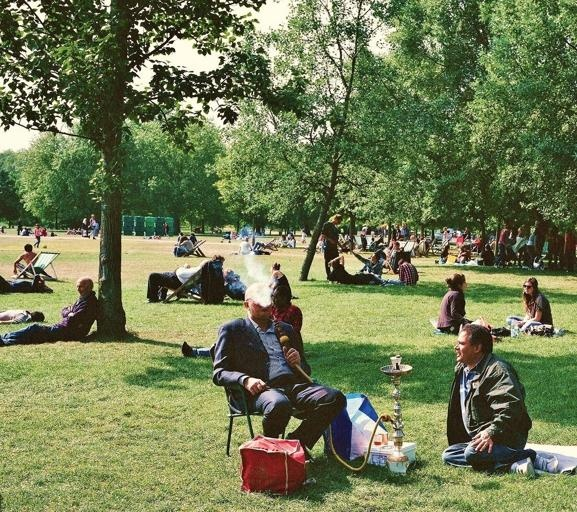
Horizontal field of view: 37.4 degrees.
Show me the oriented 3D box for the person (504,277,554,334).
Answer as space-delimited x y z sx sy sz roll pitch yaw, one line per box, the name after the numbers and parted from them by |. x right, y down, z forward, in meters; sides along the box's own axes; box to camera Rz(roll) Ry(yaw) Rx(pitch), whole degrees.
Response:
5.097 1.143 18.257 1.007 1.570 1.144 4 -6 -10 | person

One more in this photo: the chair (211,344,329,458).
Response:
-0.170 1.784 11.177 1.616 1.536 0.746 1 0 -9 | chair

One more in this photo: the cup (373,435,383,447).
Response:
1.207 2.469 11.360 0.118 0.131 0.095 1 -7 1 | cup

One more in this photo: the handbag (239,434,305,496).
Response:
-0.205 2.608 10.533 0.640 0.516 0.641 1 1 43 | handbag

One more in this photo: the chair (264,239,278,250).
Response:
-1.003 -0.898 53.046 0.808 0.525 1.228 1 -6 3 | chair

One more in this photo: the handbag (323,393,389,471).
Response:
0.829 2.370 11.667 0.826 0.886 0.788 8 -10 -16 | handbag

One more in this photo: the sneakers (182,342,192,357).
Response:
-1.845 1.700 15.520 0.099 0.373 0.148 -7 7 -8 | sneakers

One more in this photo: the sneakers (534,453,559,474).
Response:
3.337 2.674 11.000 0.307 0.264 0.257 1 -1 17 | sneakers

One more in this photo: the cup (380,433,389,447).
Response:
1.276 2.456 11.362 0.105 0.197 0.112 0 -6 0 | cup

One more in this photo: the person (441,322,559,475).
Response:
2.586 1.842 11.027 1.119 1.966 0.408 1 0 16 | person

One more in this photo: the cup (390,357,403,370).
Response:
1.368 1.347 10.799 0.163 0.189 0.174 0 -5 0 | cup

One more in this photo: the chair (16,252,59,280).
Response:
-7.815 0.308 26.571 0.644 0.657 0.922 -2 -20 21 | chair

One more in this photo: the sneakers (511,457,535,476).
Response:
2.993 2.710 10.849 0.244 0.180 0.117 -6 -16 -2 | sneakers

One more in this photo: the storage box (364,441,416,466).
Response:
1.381 2.577 11.215 0.550 0.343 0.576 1 -1 26 | storage box

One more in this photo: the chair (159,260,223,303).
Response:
-2.492 0.645 22.438 1.534 1.167 1.030 -1 8 23 | chair
